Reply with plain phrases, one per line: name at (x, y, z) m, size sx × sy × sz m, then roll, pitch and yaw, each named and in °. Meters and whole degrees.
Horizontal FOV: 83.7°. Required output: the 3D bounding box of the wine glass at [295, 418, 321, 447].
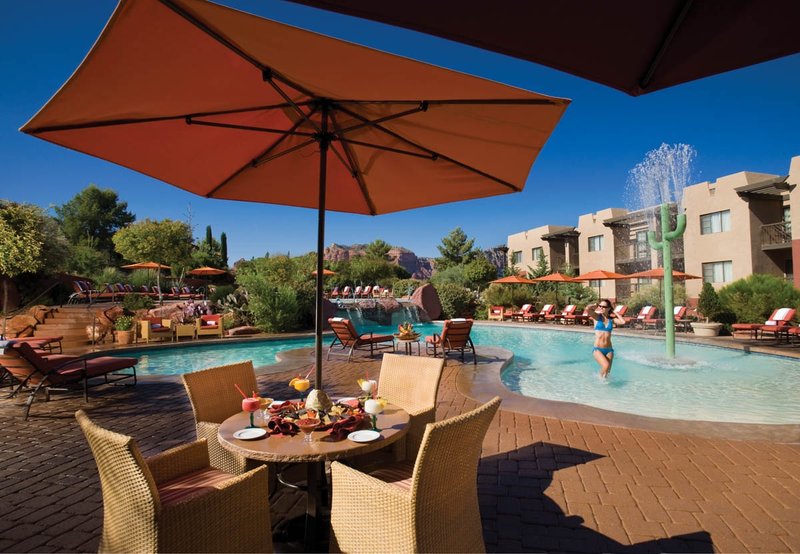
wine glass at (-0.800, 1.306, 3.815) m, size 0.188 × 0.139 × 0.187 m, roll -1°, pitch -2°, yaw -5°

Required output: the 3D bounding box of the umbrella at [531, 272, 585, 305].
umbrella at (7.910, 0.914, 23.194) m, size 2.201 × 1.487 × 2.434 m, roll 0°, pitch 3°, yaw 38°

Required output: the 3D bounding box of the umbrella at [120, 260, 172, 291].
umbrella at (-16.972, -0.047, 30.185) m, size 2.423 × 1.411 × 2.119 m, roll 0°, pitch -2°, yaw -3°

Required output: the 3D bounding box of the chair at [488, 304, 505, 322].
chair at (5.237, 1.971, 24.248) m, size 0.746 × 0.735 × 0.774 m, roll -4°, pitch -12°, yaw 23°

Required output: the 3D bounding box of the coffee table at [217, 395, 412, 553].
coffee table at (-0.945, 1.457, 4.027) m, size 1.324 × 0.801 × 1.267 m, roll 1°, pitch -4°, yaw -25°

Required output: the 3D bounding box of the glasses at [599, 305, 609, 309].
glasses at (4.241, 0.615, 9.321) m, size 0.168 × 0.104 × 0.130 m, roll -3°, pitch -2°, yaw 27°

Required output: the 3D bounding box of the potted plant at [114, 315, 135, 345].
potted plant at (-8.692, 1.716, 14.204) m, size 0.740 × 0.987 × 0.795 m, roll -8°, pitch -11°, yaw 43°

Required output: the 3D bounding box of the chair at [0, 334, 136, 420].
chair at (-5.786, 1.651, 8.082) m, size 1.205 × 1.047 × 1.999 m, roll -1°, pitch 1°, yaw 34°

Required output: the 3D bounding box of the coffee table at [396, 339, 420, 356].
coffee table at (0.259, 1.944, 12.525) m, size 0.616 × 0.644 × 0.585 m, roll -1°, pitch 0°, yaw -6°

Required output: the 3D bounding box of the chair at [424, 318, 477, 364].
chair at (1.261, 1.528, 10.996) m, size 0.845 × 0.893 × 1.479 m, roll 1°, pitch -6°, yaw -8°

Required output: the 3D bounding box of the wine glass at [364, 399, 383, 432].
wine glass at (-0.237, 1.238, 4.042) m, size 0.226 × 0.333 × 0.226 m, roll -1°, pitch -6°, yaw -5°

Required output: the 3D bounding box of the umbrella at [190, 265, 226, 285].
umbrella at (-15.068, -0.171, 35.308) m, size 1.821 × 0.742 × 1.690 m, roll 1°, pitch -2°, yaw 8°

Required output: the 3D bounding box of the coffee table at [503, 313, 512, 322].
coffee table at (5.772, 2.132, 23.933) m, size 0.414 × 0.247 × 0.403 m, roll -1°, pitch -2°, yaw -3°

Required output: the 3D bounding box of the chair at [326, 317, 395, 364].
chair at (-0.984, 1.613, 11.796) m, size 0.879 × 0.920 × 1.680 m, roll -2°, pitch -3°, yaw 41°
